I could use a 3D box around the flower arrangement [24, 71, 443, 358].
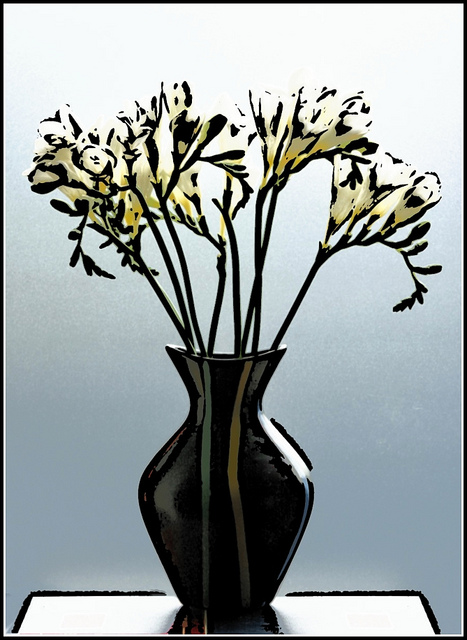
[{"bbox_3d":[-0.007,-0.162,1.123,0.420,0.429,0.344,8,-90,-4],"label":"flower arrangement"}]
